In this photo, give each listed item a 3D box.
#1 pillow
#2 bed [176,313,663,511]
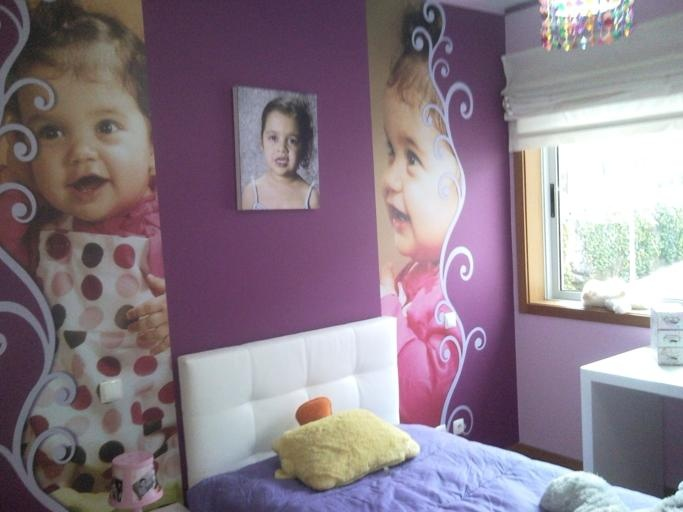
[{"bbox_3d":[0.041,0.840,2.780,0.457,0.144,0.356,-5,7,-41],"label":"pillow"},{"bbox_3d":[0.406,0.834,3.109,1.337,0.730,1.016,1,4,40],"label":"bed"}]
